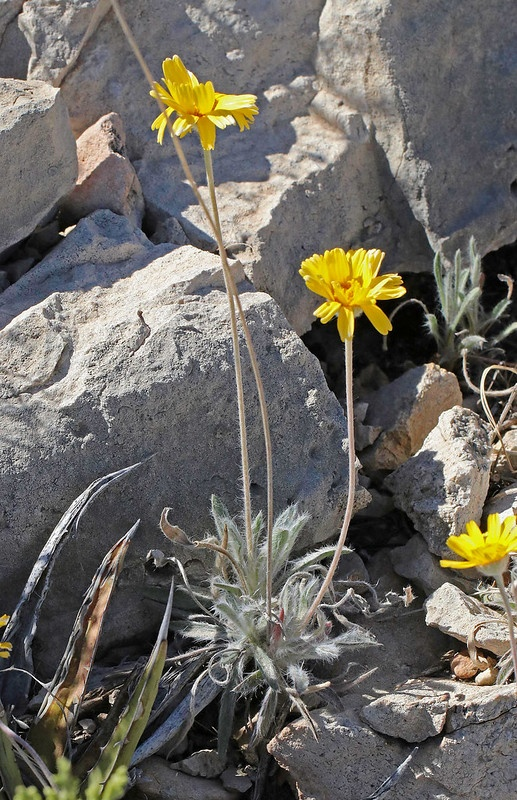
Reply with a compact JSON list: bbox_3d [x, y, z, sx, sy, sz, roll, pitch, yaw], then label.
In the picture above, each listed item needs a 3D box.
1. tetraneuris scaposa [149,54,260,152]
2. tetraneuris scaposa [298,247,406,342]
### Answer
[{"bbox_3d":[-0.141,-0.623,2.053,0.244,0.216,0.242,14,22,28],"label":"tetraneuris scaposa"},{"bbox_3d":[0.188,-0.210,2.056,0.224,0.102,0.204,23,69,6],"label":"tetraneuris scaposa"}]
